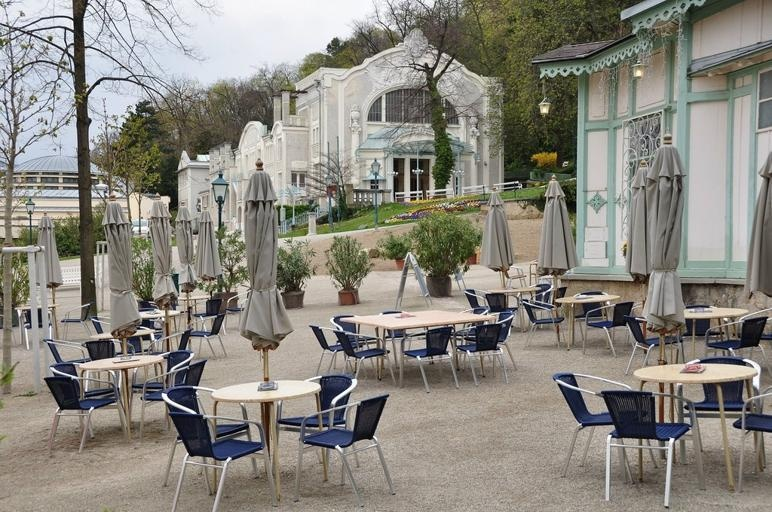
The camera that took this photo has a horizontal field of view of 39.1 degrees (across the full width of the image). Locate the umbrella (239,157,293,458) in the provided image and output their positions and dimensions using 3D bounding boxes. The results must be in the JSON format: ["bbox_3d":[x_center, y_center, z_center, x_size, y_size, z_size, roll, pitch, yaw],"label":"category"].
[{"bbox_3d":[-2.269,0.262,19.793,0.841,4.552,0.498,-3,1,-10],"label":"umbrella"}]
